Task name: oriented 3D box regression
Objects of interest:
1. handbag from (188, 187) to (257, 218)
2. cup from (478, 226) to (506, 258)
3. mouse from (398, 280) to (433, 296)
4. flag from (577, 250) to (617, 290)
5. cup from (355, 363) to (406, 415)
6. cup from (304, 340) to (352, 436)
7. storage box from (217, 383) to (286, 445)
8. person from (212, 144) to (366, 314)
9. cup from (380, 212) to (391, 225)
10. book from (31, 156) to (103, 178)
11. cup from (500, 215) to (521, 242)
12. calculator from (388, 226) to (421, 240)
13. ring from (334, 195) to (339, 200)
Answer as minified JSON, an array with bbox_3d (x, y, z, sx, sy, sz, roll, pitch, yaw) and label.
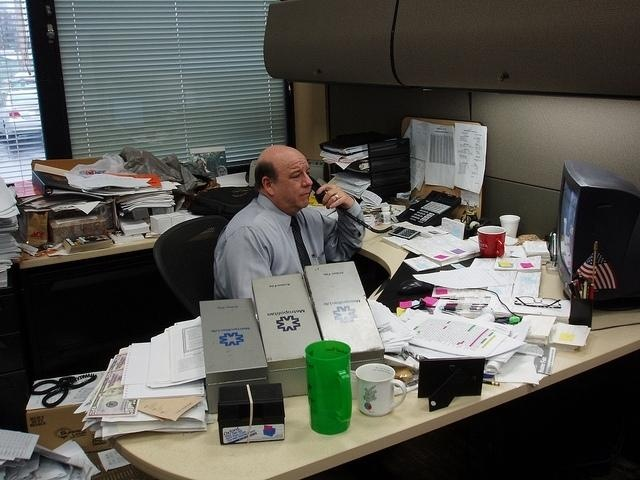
[{"bbox_3d":[-0.543,-0.216,2.532,0.244,0.076,0.245,6,16,32],"label":"handbag"},{"bbox_3d":[0.737,0.006,2.017,0.097,0.103,0.148,0,22,6],"label":"cup"},{"bbox_3d":[0.362,0.170,1.718,0.103,0.033,0.056,-7,17,-18],"label":"mouse"},{"bbox_3d":[0.942,0.101,1.555,0.119,0.118,0.006,11,21,12],"label":"flag"},{"bbox_3d":[0.145,0.374,1.195,0.094,0.106,0.145,-17,25,-35],"label":"cup"},{"bbox_3d":[0.022,0.337,1.109,0.125,0.216,0.208,-3,28,-3],"label":"cup"},{"bbox_3d":[-0.168,0.460,1.136,0.211,0.146,0.113,-1,30,-6],"label":"storage box"},{"bbox_3d":[-0.111,-0.051,1.929,0.460,0.830,0.610,14,28,34],"label":"person"},{"bbox_3d":[0.349,-0.114,2.432,0.063,0.062,0.051,-11,20,-1],"label":"cup"},{"bbox_3d":[-1.473,-0.413,2.557,0.328,0.072,0.352,-2,17,5],"label":"book"},{"bbox_3d":[0.891,-0.064,2.220,0.122,0.126,0.121,-3,7,0],"label":"cup"},{"bbox_3d":[0.416,-0.034,2.251,0.079,0.014,0.135,-13,20,-17],"label":"calculator"},{"bbox_3d":[0.075,-0.198,2.113,0.018,0.011,0.017,-4,-23,-2],"label":"ring"}]
